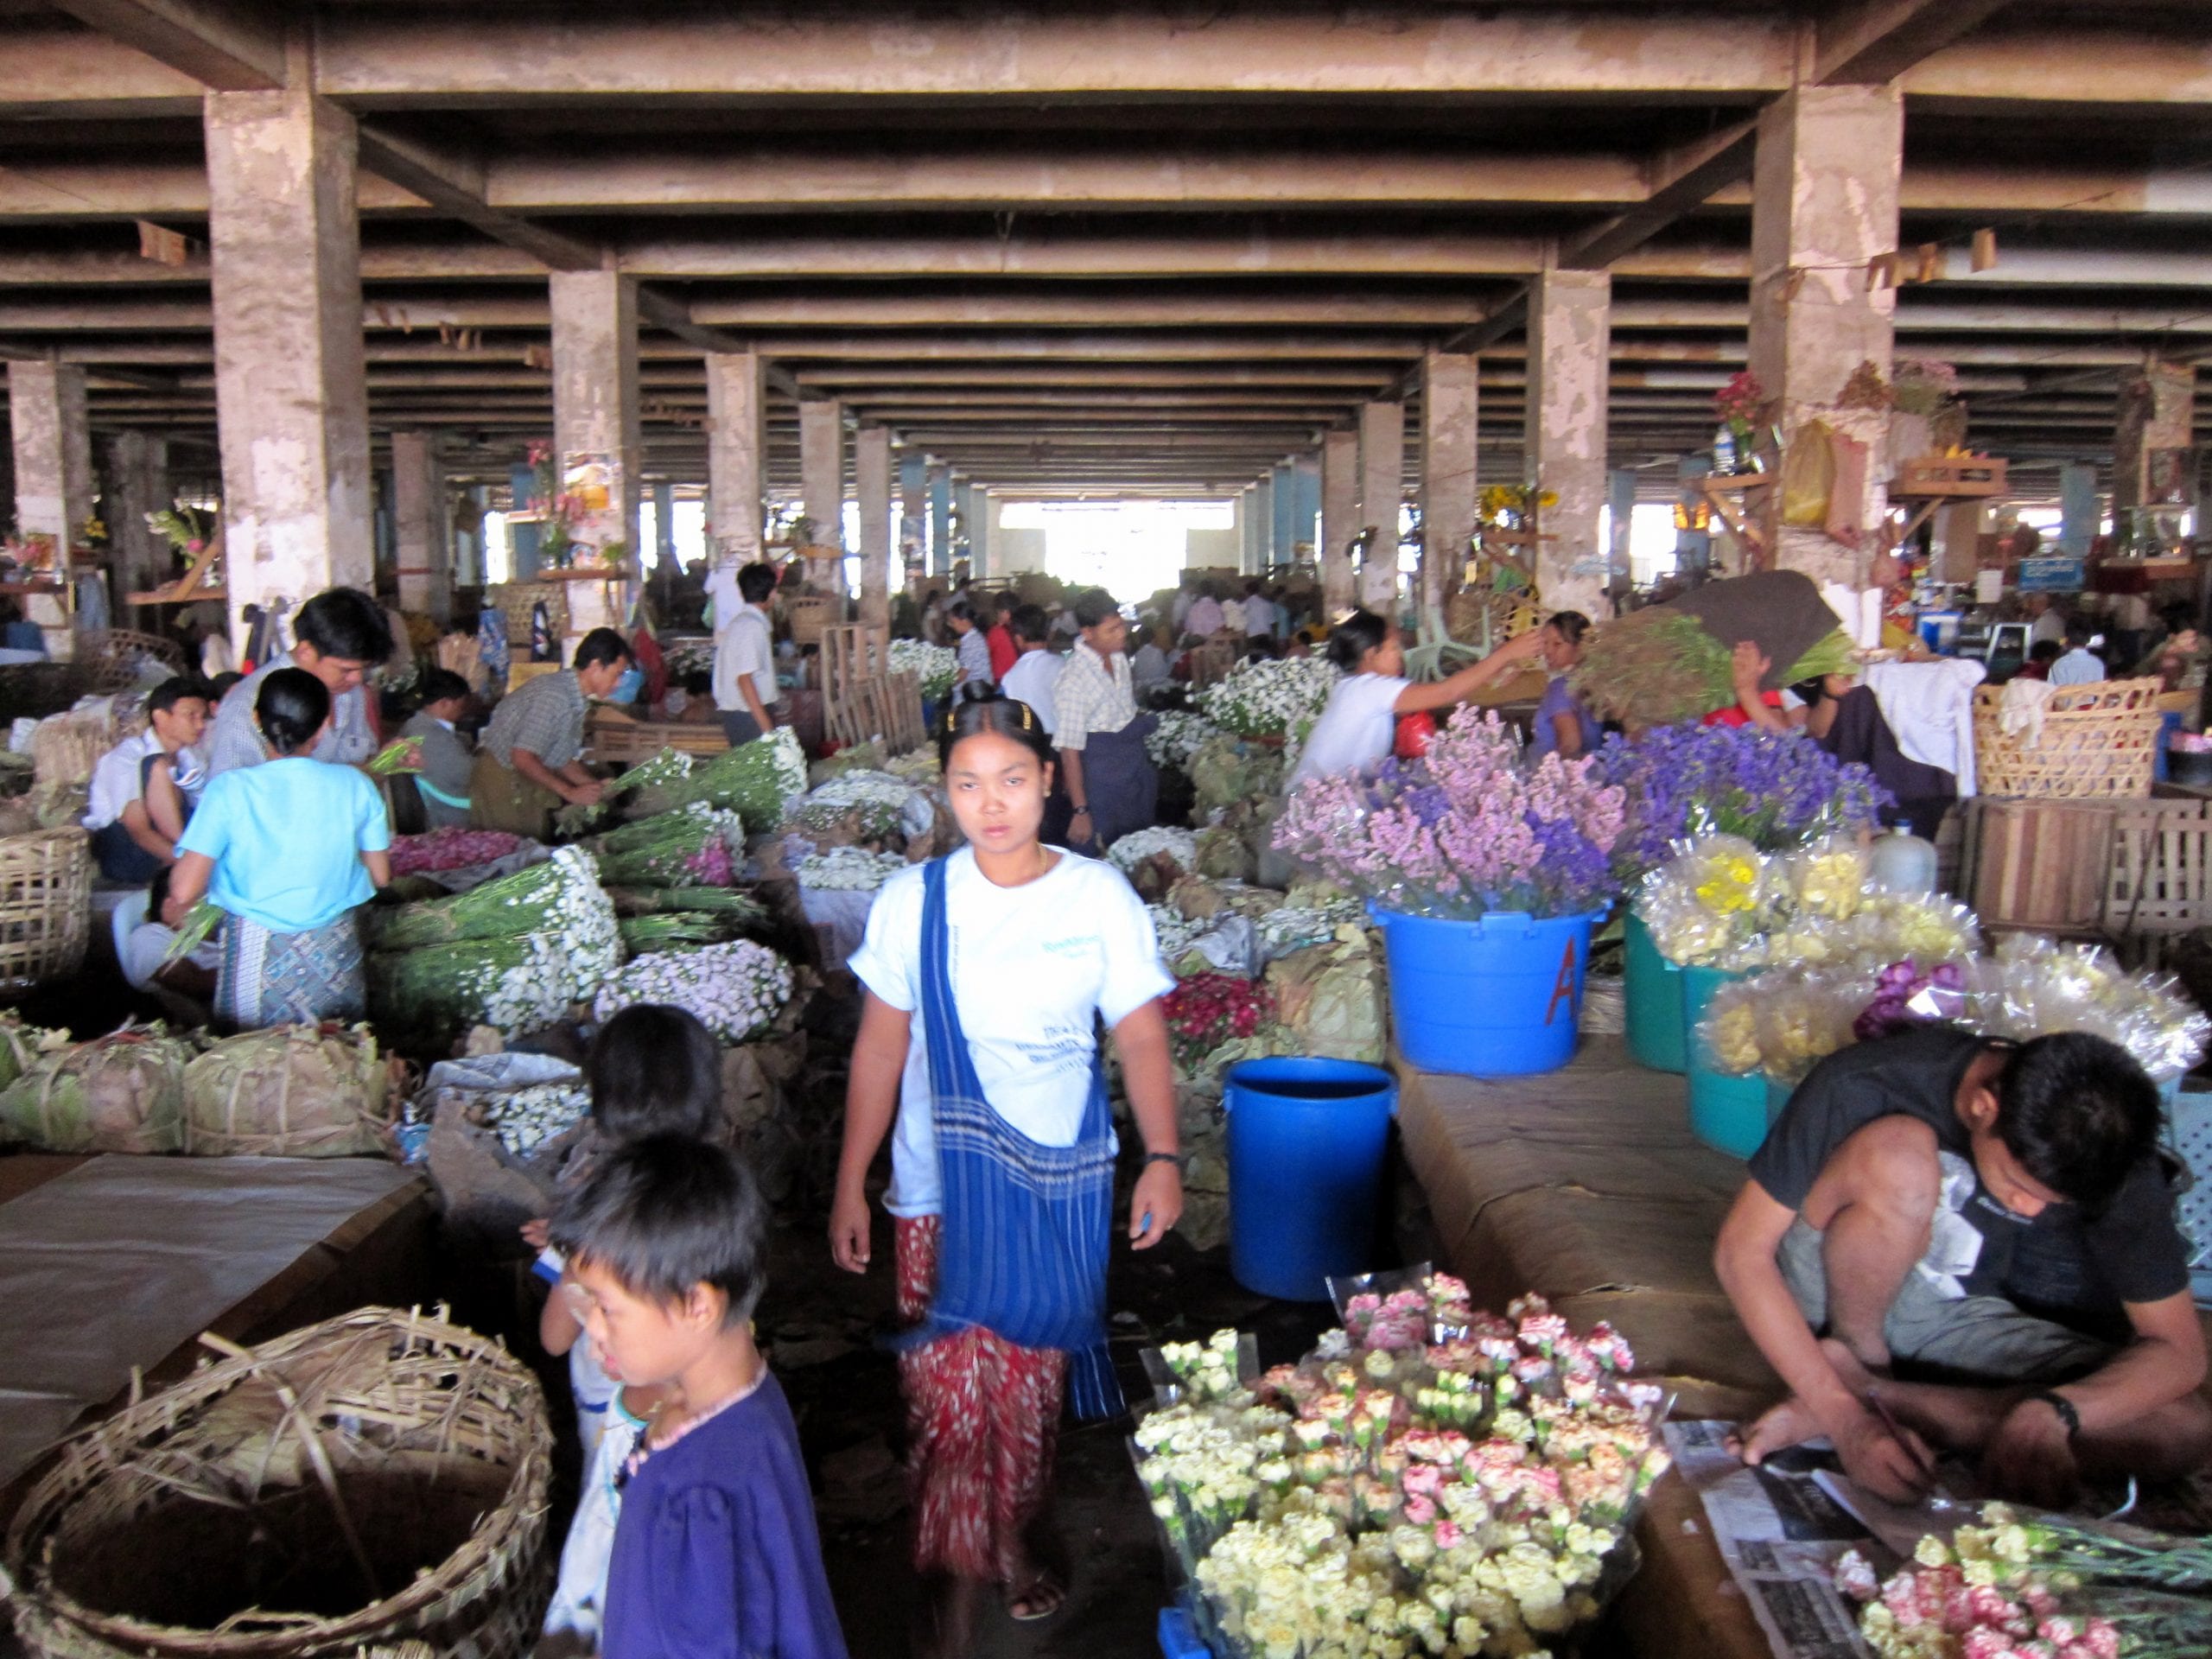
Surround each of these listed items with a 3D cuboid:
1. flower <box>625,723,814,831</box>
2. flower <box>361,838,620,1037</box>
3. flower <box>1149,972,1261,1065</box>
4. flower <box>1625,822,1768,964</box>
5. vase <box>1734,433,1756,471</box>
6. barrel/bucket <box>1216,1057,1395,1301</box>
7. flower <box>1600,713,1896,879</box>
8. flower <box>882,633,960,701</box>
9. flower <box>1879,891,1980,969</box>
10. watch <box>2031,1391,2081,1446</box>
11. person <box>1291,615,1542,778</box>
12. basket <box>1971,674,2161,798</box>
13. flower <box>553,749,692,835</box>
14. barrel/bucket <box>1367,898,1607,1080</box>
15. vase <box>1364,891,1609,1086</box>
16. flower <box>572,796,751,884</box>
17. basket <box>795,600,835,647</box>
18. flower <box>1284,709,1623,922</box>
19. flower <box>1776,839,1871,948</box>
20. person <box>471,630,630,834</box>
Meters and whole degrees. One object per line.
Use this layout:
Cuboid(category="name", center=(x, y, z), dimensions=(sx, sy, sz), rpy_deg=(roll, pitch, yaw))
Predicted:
Cuboid(category="flower", center=(-1.413, -0.197, 5.650), dimensions=(0.574, 0.241, 0.325), rpy_deg=(-8, 49, -12))
Cuboid(category="flower", center=(-1.690, 0.280, 4.289), dimensions=(0.598, 0.239, 0.472), rpy_deg=(0, 53, -23))
Cuboid(category="flower", center=(0.273, 0.526, 4.278), dimensions=(0.327, 0.101, 0.324), rpy_deg=(-1, 38, 9))
Cuboid(category="flower", center=(1.342, 0.160, 3.474), dimensions=(0.197, 0.281, 0.260), rpy_deg=(-7, 11, -38))
Cuboid(category="vase", center=(2.739, -1.615, 6.724), dimensions=(0.109, 0.139, 0.143), rpy_deg=(0, 31, 6))
Cuboid(category="barrel/bucket", center=(0.549, 0.907, 4.287), dimensions=(0.628, 0.587, 0.566), rpy_deg=(0, 4, -3))
Cuboid(category="flower", center=(1.507, -0.096, 3.761), dimensions=(0.474, 0.278, 0.452), rpy_deg=(4, 2, 7))
Cuboid(category="flower", center=(-1.501, -1.335, 12.693), dimensions=(0.704, 0.362, 0.746), rpy_deg=(3, 7, 7))
Cuboid(category="flower", center=(1.734, 0.211, 3.277), dimensions=(0.155, 0.097, 0.182), rpy_deg=(-1, 4, 7))
Cuboid(category="watch", center=(1.557, 0.952, 2.557), dimensions=(0.060, 0.070, 0.055), rpy_deg=(-7, 12, -39))
Cuboid(category="person", center=(1.023, -0.265, 5.107), dimensions=(0.766, 0.933, 0.414), rpy_deg=(-1, 35, 13))
Cuboid(category="basket", center=(3.061, -0.278, 5.005), dimensions=(0.450, 0.290, 0.450), rpy_deg=(0, 2, 3))
Cuboid(category="flower", center=(-1.739, -0.103, 5.590), dimensions=(0.426, 0.112, 0.300), rpy_deg=(-18, 20, -2))
Cuboid(category="barrel/bucket", center=(0.984, 0.426, 4.063), dimensions=(0.509, 0.326, 0.525), rpy_deg=(-2, 4, 0))
Cuboid(category="vase", center=(0.990, 0.372, 4.126), dimensions=(0.539, 0.331, 0.505), rpy_deg=(-5, 4, -42))
Cuboid(category="flower", center=(-1.470, 0.037, 5.234), dimensions=(0.454, 0.160, 0.260), rpy_deg=(0, 24, -10))
Cuboid(category="basket", center=(-2.147, -1.519, 11.594), dimensions=(0.257, 0.320, 0.425), rpy_deg=(3, 9, 18))
Cuboid(category="flower", center=(0.875, -0.112, 3.880), dimensions=(0.621, 0.317, 0.608), rpy_deg=(7, 14, 39))
Cuboid(category="flower", center=(1.577, 0.128, 3.427), dimensions=(0.176, 0.175, 0.360), rpy_deg=(5, 9, 25))
Cuboid(category="person", center=(-1.967, -0.344, 5.572), dimensions=(0.557, 0.707, 0.361), rpy_deg=(-4, 10, -28))
